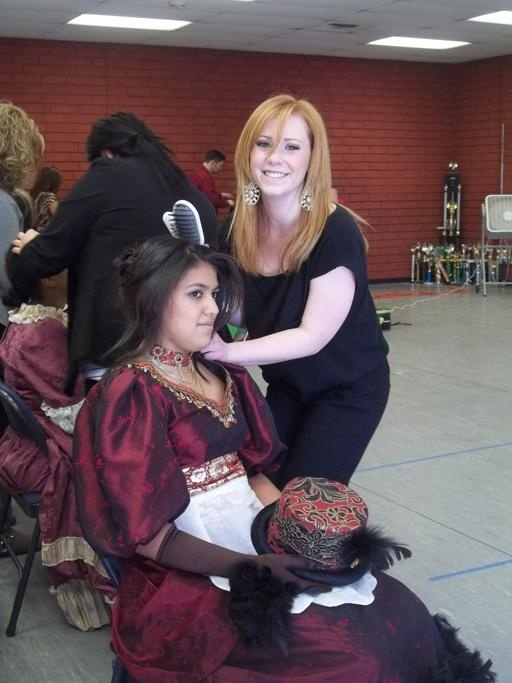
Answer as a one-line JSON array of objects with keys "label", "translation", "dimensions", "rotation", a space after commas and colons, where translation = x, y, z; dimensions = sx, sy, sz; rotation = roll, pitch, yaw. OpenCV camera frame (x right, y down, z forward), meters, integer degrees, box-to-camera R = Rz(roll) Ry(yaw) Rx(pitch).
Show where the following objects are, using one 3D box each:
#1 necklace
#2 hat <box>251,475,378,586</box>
[{"label": "necklace", "translation": [-0.170, 0.053, 1.119], "dimensions": [0.113, 0.033, 0.089], "rotation": [32, 3, 42]}, {"label": "hat", "translation": [0.081, 0.306, 0.938], "dimensions": [0.199, 0.163, 0.171], "rotation": [2, 11, 20]}]
